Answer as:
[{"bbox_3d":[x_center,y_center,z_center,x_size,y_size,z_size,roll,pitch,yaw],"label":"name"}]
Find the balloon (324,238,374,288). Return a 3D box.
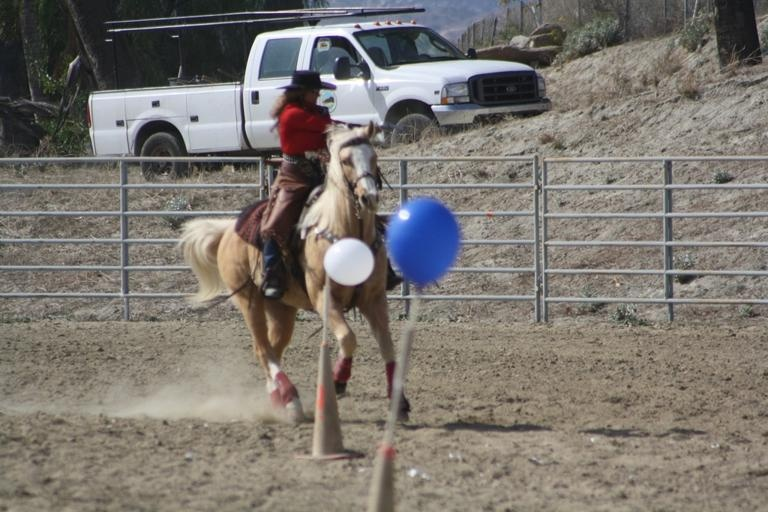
[{"bbox_3d":[-0.616,0.093,27.825,0.859,0.790,0.255,-3,8,-5],"label":"balloon"}]

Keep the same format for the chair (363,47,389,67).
[{"bbox_3d":[-0.129,-4.268,34.019,0.477,0.435,0.355,-3,8,-4],"label":"chair"}]

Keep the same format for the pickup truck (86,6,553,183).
[{"bbox_3d":[-1.727,-3.776,35.601,8.463,3.866,4.268,-4,6,16],"label":"pickup truck"}]
